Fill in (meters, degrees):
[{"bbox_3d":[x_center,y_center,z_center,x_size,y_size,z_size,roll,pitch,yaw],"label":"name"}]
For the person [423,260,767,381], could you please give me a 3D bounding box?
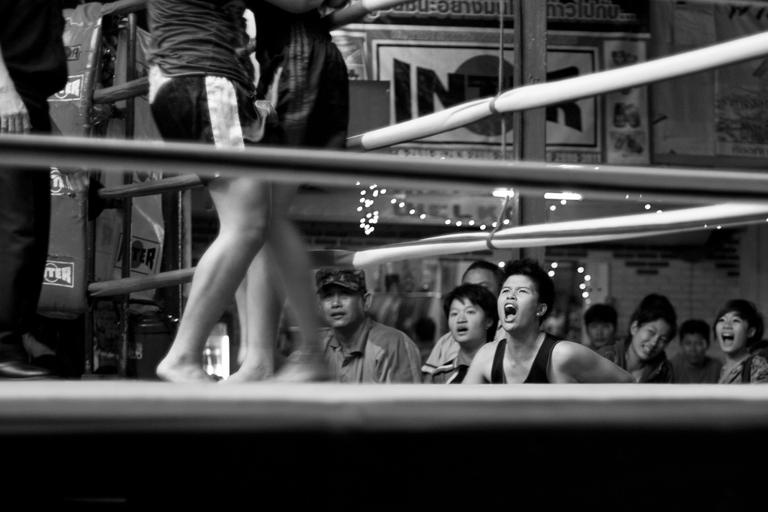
[{"bbox_3d":[1.055,0.330,6.523,1.686,0.627,0.924,1,4,-40],"label":"person"}]
